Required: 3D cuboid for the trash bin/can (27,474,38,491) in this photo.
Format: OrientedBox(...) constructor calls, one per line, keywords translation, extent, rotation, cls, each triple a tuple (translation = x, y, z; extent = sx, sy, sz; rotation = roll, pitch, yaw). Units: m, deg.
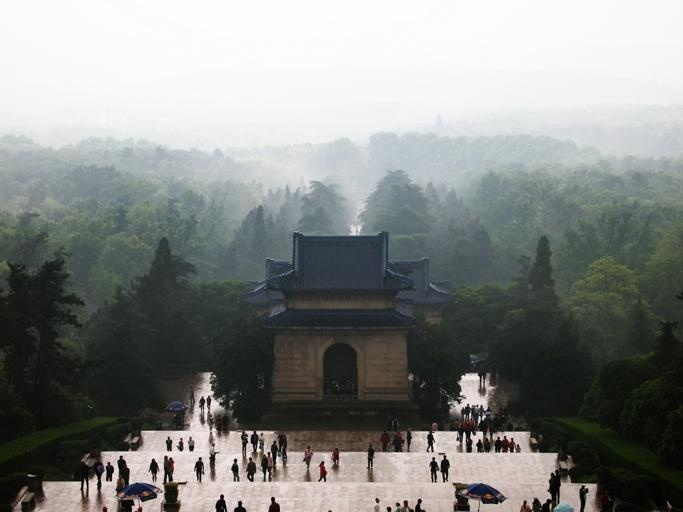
OrientedBox(translation=(-18.191, 13.219, 47.778), extent=(0.529, 0.913, 0.604), rotation=(-4, 12, -18), cls="trash bin/can")
